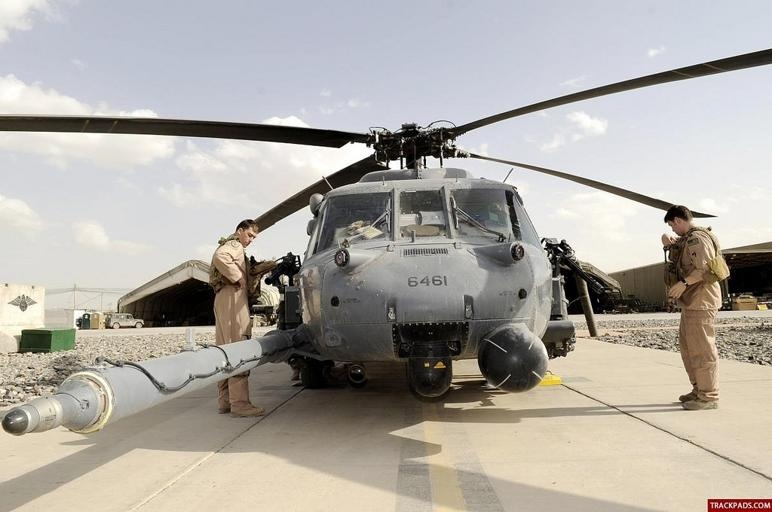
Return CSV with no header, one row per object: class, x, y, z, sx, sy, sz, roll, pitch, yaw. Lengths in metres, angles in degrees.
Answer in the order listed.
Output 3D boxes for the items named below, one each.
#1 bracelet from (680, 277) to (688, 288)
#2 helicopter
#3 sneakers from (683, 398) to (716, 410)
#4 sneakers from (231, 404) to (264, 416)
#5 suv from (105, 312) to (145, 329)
bracelet,3.308,0.288,5.296,0.103,0.085,0.067,11,-29,-43
helicopter,0.188,0.703,5.824,5.006,2.123,5.760,-1,-4,1
sneakers,3.459,1.623,5.330,0.366,0.132,0.126,2,-5,5
sneakers,-1.567,1.743,5.456,0.342,0.135,0.147,0,-2,0
suv,-15.648,3.873,28.650,2.010,0.775,1.126,-1,0,-12
